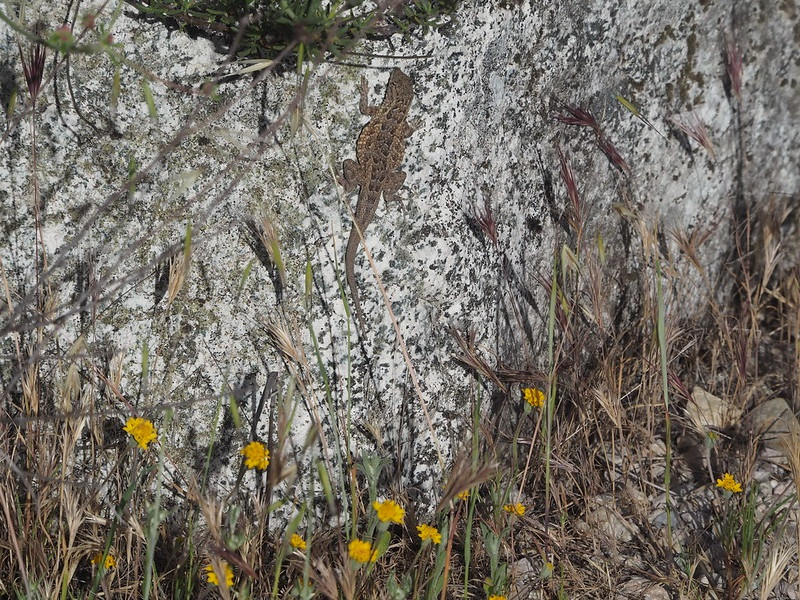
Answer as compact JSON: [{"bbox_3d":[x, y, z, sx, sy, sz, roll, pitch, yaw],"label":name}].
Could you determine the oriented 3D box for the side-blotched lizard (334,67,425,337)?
[{"bbox_3d":[-0.103,-0.570,4.222,0.251,1.403,0.139,11,-1,-20],"label":"side-blotched lizard"}]

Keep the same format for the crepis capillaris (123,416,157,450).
[{"bbox_3d":[-1.009,0.523,3.574,0.124,0.176,0.060,19,-25,-35],"label":"crepis capillaris"}]

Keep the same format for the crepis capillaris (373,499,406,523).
[{"bbox_3d":[-0.042,0.821,3.594,0.119,0.056,0.127,40,6,9],"label":"crepis capillaris"}]

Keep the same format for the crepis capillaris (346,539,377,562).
[{"bbox_3d":[-0.141,0.939,3.431,0.071,0.044,0.092,9,-23,15],"label":"crepis capillaris"}]

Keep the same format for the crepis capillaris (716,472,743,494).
[{"bbox_3d":[1.377,0.768,3.865,0.062,0.087,0.036,13,-39,-23],"label":"crepis capillaris"}]

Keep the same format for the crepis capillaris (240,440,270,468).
[{"bbox_3d":[-0.555,0.597,3.530,0.102,0.125,0.118,0,8,-29],"label":"crepis capillaris"}]
